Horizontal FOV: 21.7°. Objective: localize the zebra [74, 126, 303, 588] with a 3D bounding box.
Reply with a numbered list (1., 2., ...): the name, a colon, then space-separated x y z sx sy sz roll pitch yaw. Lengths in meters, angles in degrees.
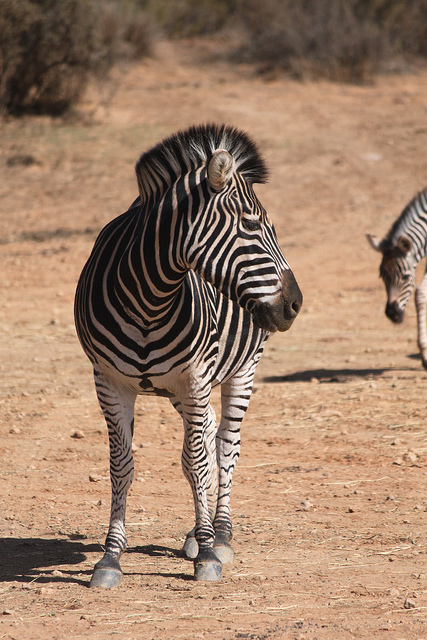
1. zebra: -0.249 0.241 6.125 1.004 2.368 2.900 1 1 -5
